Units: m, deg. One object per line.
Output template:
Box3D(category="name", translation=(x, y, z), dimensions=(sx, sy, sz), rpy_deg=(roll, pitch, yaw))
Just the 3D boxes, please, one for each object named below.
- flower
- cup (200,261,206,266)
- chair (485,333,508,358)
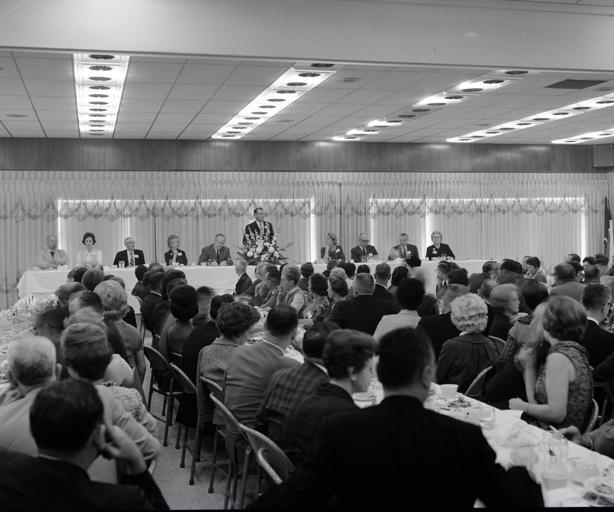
Box3D(category="flower", translation=(-1.069, -0.343, 11.928), dimensions=(1.017, 1.060, 1.321), rpy_deg=(2, -9, -7))
Box3D(category="cup", translation=(-2.713, 0.211, 12.948), dimensions=(0.107, 0.121, 0.106), rpy_deg=(-1, -4, 0))
Box3D(category="chair", translation=(1.746, 0.837, 4.582), dimensions=(0.193, 0.172, 0.278), rpy_deg=(-5, -9, 40))
